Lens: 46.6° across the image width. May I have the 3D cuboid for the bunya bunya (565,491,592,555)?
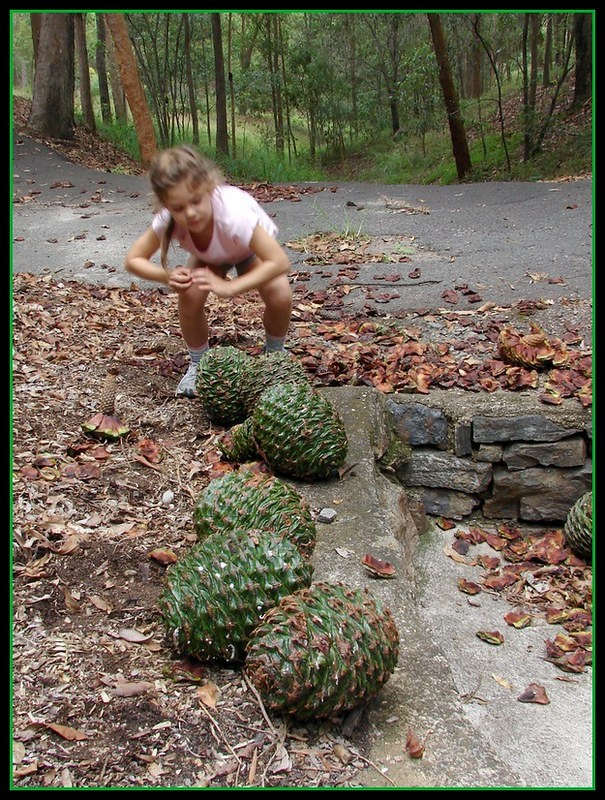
[{"bbox_3d":[1.414,0.663,3.595,0.137,0.331,0.250,-3,13,20],"label":"bunya bunya"}]

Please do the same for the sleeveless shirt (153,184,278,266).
[{"bbox_3d":[-0.503,-0.799,3.293,0.668,0.239,0.345,1,-4,-6],"label":"sleeveless shirt"}]

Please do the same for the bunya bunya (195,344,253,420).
[{"bbox_3d":[-0.373,-0.079,3.299,0.295,0.317,0.298,2,-17,-27],"label":"bunya bunya"}]

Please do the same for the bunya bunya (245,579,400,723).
[{"bbox_3d":[0.059,0.666,1.826,0.410,0.312,0.258,-9,12,-11],"label":"bunya bunya"}]

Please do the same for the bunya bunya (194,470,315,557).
[{"bbox_3d":[-0.149,0.341,2.335,0.347,0.261,0.273,10,-1,28],"label":"bunya bunya"}]

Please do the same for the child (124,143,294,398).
[{"bbox_3d":[-0.410,-0.610,3.405,0.710,1.145,0.775,23,36,35],"label":"child"}]
